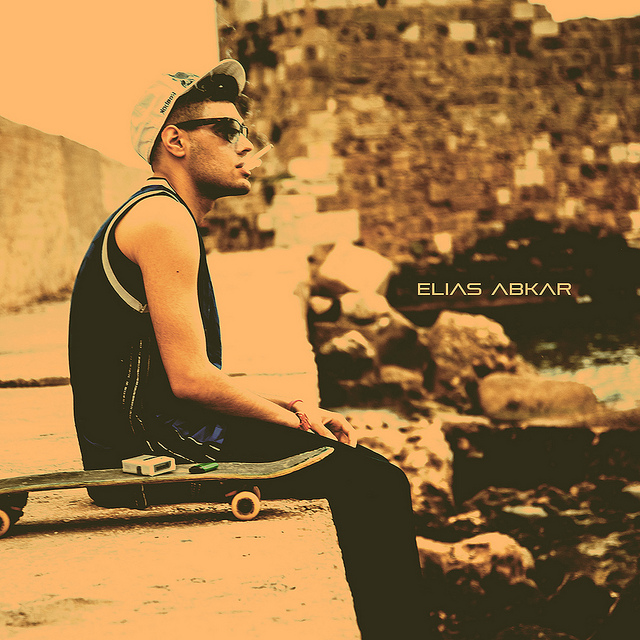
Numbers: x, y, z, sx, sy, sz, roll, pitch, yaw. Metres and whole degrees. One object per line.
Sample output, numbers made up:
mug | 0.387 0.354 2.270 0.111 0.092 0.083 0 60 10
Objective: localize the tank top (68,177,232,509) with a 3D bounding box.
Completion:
tank top | -0.670 0.103 3.810 0.589 1.253 0.278 -3 7 -9

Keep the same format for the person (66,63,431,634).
person | -0.324 0.091 3.839 1.319 2.202 0.619 -2 7 0

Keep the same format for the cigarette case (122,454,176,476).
cigarette case | -0.647 0.549 3.742 0.150 0.030 0.094 2 4 24

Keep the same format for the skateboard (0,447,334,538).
skateboard | -0.777 0.639 3.839 2.021 0.204 0.365 -1 2 -3
